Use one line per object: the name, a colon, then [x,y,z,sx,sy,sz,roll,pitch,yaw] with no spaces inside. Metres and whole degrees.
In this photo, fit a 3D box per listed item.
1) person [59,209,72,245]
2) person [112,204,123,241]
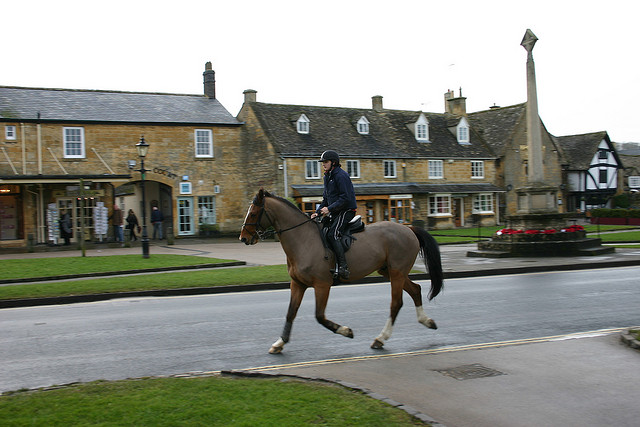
person: [-13.307,0.819,36.455,0.588,1.830,1.505,-5,1,-19]
person: [-10.941,0.544,37.613,0.504,2.005,0.966,-5,1,-14]
